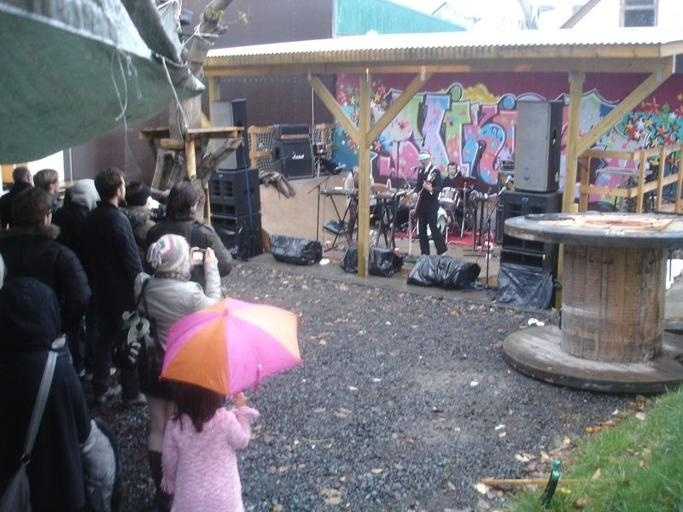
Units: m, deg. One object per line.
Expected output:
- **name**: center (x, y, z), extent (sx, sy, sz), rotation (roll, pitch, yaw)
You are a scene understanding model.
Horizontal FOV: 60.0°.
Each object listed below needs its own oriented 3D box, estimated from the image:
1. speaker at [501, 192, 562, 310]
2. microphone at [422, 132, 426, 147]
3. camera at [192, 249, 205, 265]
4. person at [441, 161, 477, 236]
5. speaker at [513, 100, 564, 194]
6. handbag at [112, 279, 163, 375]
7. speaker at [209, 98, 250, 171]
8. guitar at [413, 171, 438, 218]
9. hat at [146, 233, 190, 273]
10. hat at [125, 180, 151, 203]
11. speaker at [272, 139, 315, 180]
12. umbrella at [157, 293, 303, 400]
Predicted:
- **speaker**: center (3.066, -0.314, 9.687), extent (0.877, 1.626, 2.484), rotation (3, 14, 17)
- **microphone**: center (2.514, -3.525, 17.845), extent (0.064, 0.305, 0.279), rotation (6, 5, -8)
- **camera**: center (-1.048, 0.000, 4.359), extent (0.083, 0.109, 0.170), rotation (3, 8, -3)
- **person**: center (2.765, -1.259, 13.754), extent (0.762, 1.571, 1.363), rotation (13, 25, 32)
- **speaker**: center (3.068, -1.689, 9.164), extent (0.687, 1.423, 0.453), rotation (2, 11, 14)
- **handbag**: center (-1.446, 0.493, 4.169), extent (0.355, 0.641, 0.183), rotation (2, 11, 13)
- **speaker**: center (-2.136, -2.405, 11.423), extent (0.594, 1.371, 0.627), rotation (2, 26, 2)
- **guitar**: center (1.628, -1.195, 11.077), extent (0.181, 0.901, 0.422), rotation (1, 21, -24)
- **hat**: center (-1.199, -0.014, 4.112), extent (0.285, 0.245, 0.124), rotation (-6, 13, -22)
- **hat**: center (-1.994, -0.583, 5.797), extent (0.189, 0.167, 0.207), rotation (-33, 67, -31)
- **speaker**: center (-1.399, -2.828, 17.420), extent (1.059, 1.269, 0.886), rotation (-8, 11, -34)
- **umbrella**: center (-0.718, 0.495, 3.835), extent (0.910, 0.371, 1.014), rotation (-1, 20, 8)
